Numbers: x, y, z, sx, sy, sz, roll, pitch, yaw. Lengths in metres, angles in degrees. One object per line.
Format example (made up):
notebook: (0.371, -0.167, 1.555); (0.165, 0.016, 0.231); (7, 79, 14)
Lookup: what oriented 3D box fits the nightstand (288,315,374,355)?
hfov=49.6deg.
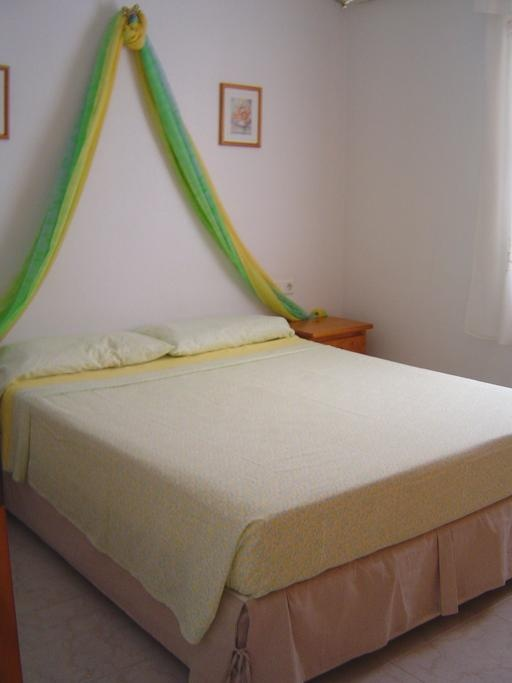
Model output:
nightstand: (0.440, -0.118, 3.504); (0.350, 0.360, 0.261); (-10, 14, -40)

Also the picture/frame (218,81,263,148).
picture/frame: (-0.102, -1.358, 3.304); (0.412, 0.461, 0.032); (-4, 7, -40)
